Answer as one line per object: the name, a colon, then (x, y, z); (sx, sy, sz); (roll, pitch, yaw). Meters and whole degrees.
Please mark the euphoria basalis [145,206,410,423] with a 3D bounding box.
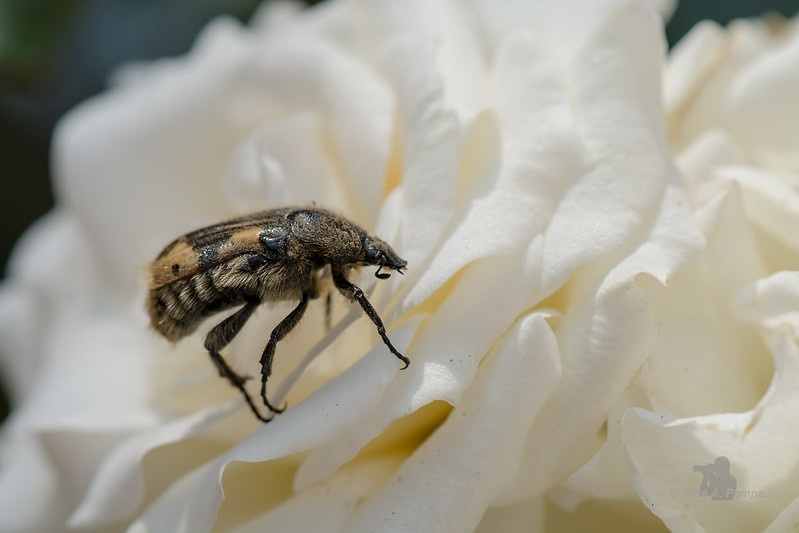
euphoria basalis: (-0.162, 0.014, 1.227); (0.241, 0.164, 0.241); (-6, 15, -13)
